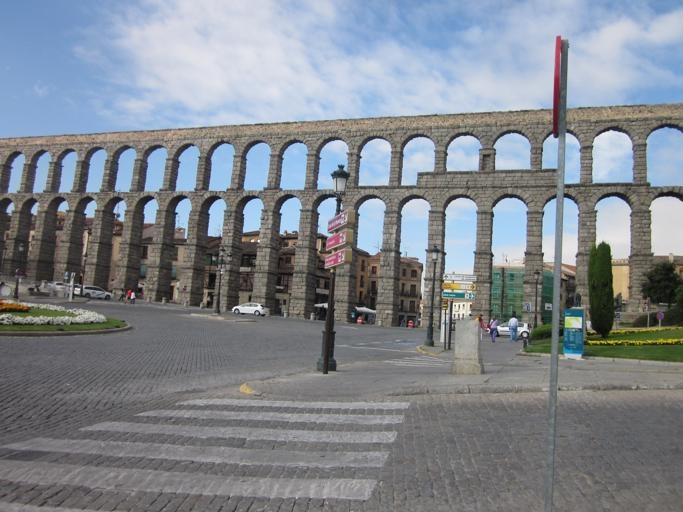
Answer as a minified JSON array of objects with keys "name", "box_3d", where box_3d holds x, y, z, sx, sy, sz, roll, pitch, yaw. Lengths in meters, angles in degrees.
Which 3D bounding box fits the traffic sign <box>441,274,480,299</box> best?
[{"name":"traffic sign","box_3d":[4.956,1.250,23.702,1.336,1.022,1.588,1,-5,8]}]

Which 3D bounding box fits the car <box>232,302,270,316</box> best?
[{"name":"car","box_3d":[-8.188,4.780,51.029,2.742,0.927,1.408,4,-5,13]}]
